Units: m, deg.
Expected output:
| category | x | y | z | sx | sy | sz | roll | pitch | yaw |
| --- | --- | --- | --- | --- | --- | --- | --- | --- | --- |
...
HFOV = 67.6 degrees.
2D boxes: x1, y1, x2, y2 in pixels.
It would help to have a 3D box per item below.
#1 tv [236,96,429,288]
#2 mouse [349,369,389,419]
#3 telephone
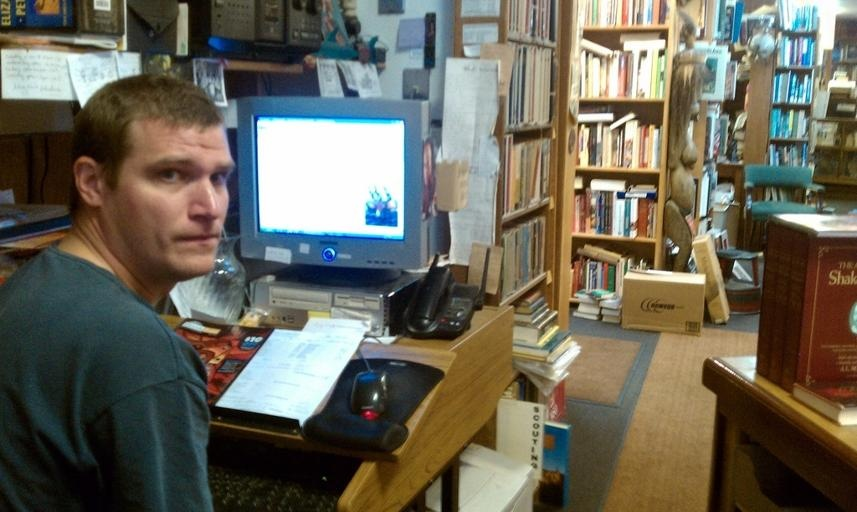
| category | x | y | z | sx | sy | sz | roll | pitch | yaw |
| --- | --- | --- | --- | --- | --- | --- | --- | --- | --- |
| tv | -0.337 | -0.273 | 2.559 | 0.712 | 0.596 | 0.374 | 2 | 1 | 10 |
| mouse | -0.163 | 0.378 | 1.862 | 0.112 | 0.054 | 0.197 | -10 | 25 | 7 |
| telephone | 0.069 | 0.164 | 2.370 | 0.259 | 0.153 | 0.386 | 3 | 27 | 10 |
